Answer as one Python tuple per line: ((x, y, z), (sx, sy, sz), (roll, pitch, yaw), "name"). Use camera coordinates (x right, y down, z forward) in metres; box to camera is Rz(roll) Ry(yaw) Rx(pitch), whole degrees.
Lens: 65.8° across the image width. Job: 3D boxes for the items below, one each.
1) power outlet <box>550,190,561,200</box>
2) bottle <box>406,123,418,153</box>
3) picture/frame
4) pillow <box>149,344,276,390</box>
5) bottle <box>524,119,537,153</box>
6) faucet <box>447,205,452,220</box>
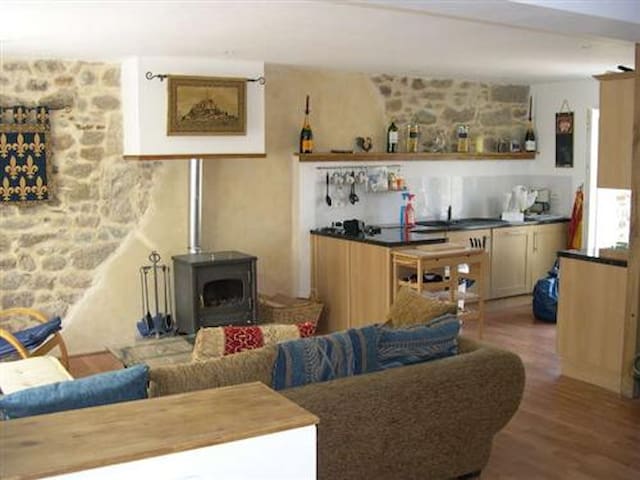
((3.499, -0.656, 7.333), (0.015, 0.135, 0.183), (-1, 13, -30), "power outlet")
((1.240, -1.371, 6.624), (0.173, 0.398, 0.310), (7, 11, 9), "bottle")
((-1.186, -1.387, 5.054), (0.699, 0.486, 0.026), (-3, 8, -31), "picture/frame")
((-0.501, 0.611, 2.368), (0.334, 0.101, 0.333), (-7, -1, -18), "pillow")
((3.210, -1.584, 7.481), (0.200, 0.523, 0.231), (10, 12, 23), "bottle")
((1.831, -0.384, 6.975), (0.070, 0.193, 0.146), (8, 11, 14), "faucet")
